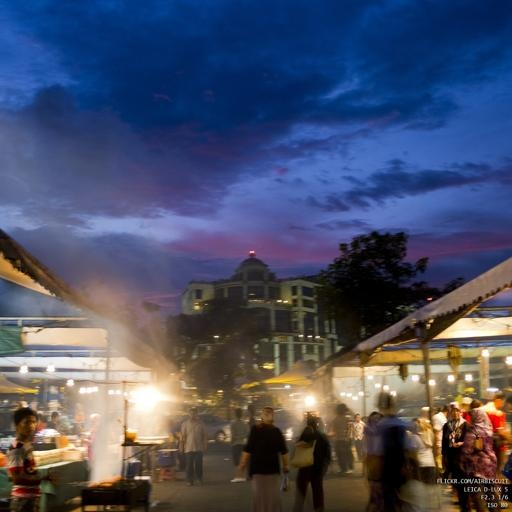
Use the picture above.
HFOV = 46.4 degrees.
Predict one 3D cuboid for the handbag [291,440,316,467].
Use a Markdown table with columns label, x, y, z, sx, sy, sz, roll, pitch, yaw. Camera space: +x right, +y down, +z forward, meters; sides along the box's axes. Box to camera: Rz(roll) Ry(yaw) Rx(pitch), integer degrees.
| label | x | y | z | sx | sy | sz | roll | pitch | yaw |
| --- | --- | --- | --- | --- | --- | --- | --- | --- | --- |
| handbag | 0.781 | 3.329 | 9.990 | 0.448 | 0.441 | 0.249 | -5 | -19 | 7 |

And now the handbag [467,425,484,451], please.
| label | x | y | z | sx | sy | sz | roll | pitch | yaw |
| --- | --- | --- | --- | --- | --- | --- | --- | --- | --- |
| handbag | 3.524 | 2.960 | 9.622 | 0.319 | 0.276 | 0.095 | -4 | -1 | -1 |
